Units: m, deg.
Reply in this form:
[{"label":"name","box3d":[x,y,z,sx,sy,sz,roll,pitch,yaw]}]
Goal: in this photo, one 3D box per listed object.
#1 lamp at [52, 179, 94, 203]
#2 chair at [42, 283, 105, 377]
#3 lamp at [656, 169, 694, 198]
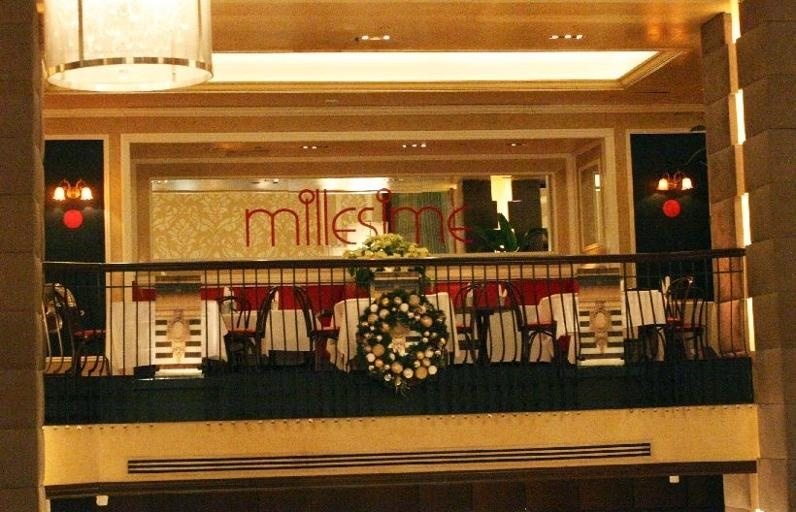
[{"label":"lamp","box3d":[-4.396,-0.843,20.437,0.384,0.190,0.371,4,-6,-40]},{"label":"chair","box3d":[-3.970,0.982,18.720,0.734,1.160,3.891,0,-7,-11]},{"label":"lamp","box3d":[3.846,-1.016,21.124,0.440,0.238,0.444,2,3,42]}]
